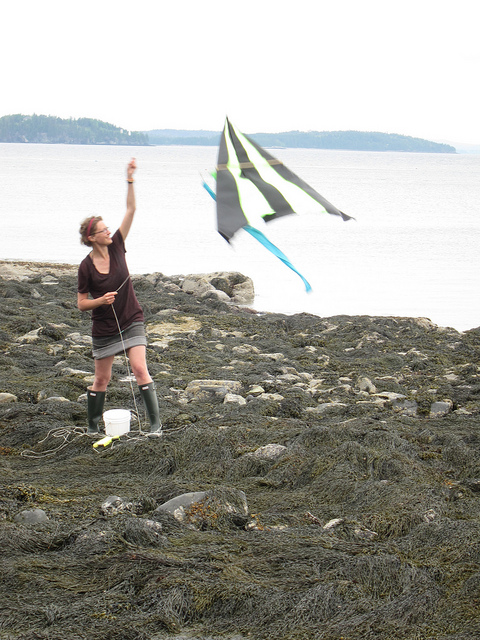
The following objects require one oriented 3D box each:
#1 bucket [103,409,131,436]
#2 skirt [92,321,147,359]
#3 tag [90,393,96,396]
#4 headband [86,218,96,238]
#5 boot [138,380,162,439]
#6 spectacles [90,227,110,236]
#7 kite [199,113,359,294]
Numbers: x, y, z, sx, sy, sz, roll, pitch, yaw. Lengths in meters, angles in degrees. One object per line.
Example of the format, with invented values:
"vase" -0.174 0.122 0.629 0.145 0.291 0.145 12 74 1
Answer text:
"bucket" -1.141 0.950 7.542 0.265 0.161 0.243 1 4 0
"skirt" -1.066 0.179 7.149 0.459 0.334 0.177 0 5 -14
"tag" -1.330 0.674 7.304 0.050 0.025 0.011 0 5 -11
"headband" -1.267 -0.783 6.802 0.075 0.159 0.064 2 5 6
"boot" -0.820 0.806 7.378 0.197 0.532 0.397 1 5 -6
"spectacles" -1.181 -0.744 6.861 0.105 0.027 0.095 -15 6 14
"kite" 0.114 -1.017 6.434 1.217 1.818 0.265 -22 -28 -41
